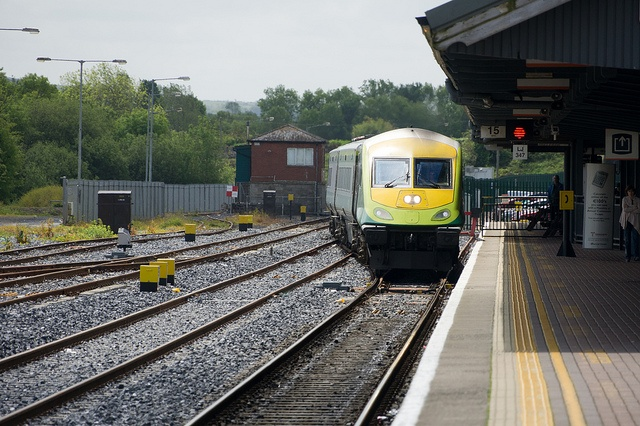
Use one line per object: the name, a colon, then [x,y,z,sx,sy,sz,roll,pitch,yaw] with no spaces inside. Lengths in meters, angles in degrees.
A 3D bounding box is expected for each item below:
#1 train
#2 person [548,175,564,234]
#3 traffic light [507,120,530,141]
train: [2.506,-0.486,20.451,3.861,4.696,6.097,0,5,4]
person: [9.953,-0.293,25.620,0.554,2.585,1.264,1,5,21]
traffic light: [6.841,-2.822,20.868,0.970,0.763,0.565,0,-3,6]
